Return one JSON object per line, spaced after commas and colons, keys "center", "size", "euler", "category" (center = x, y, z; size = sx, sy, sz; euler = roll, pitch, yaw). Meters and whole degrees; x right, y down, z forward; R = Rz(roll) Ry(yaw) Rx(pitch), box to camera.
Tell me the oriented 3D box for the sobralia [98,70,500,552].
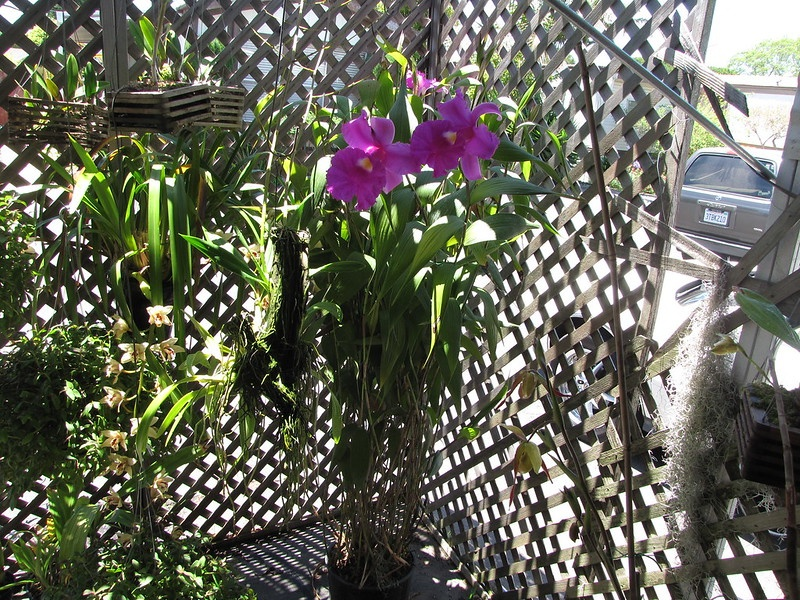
{"center": [-0.036, -0.107, 1.965], "size": [0.805, 1.649, 1.014], "euler": [4, -24, 11], "category": "sobralia"}
